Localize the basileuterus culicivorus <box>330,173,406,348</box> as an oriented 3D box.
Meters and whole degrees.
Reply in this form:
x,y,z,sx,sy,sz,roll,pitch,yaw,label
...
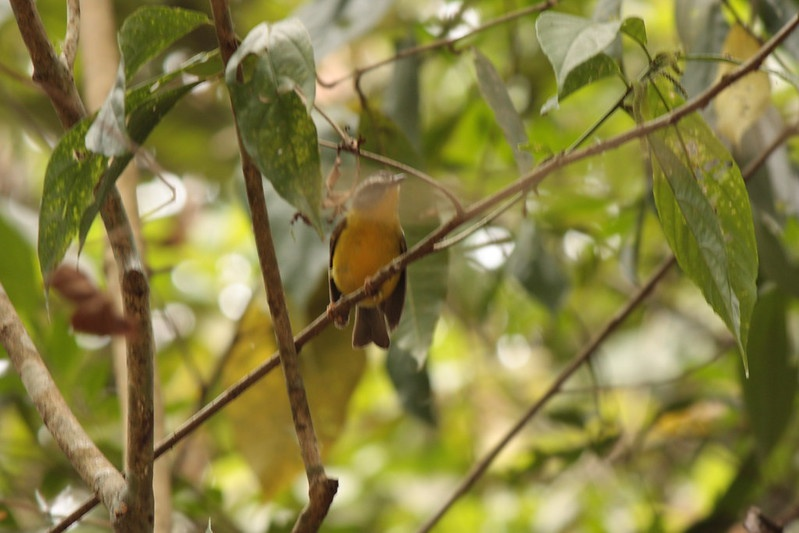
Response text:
x,y,z,sx,sy,sz,roll,pitch,yaw,label
-0.115,-0.023,4.240,0.244,0.337,0.778,2,-58,-9,basileuterus culicivorus
